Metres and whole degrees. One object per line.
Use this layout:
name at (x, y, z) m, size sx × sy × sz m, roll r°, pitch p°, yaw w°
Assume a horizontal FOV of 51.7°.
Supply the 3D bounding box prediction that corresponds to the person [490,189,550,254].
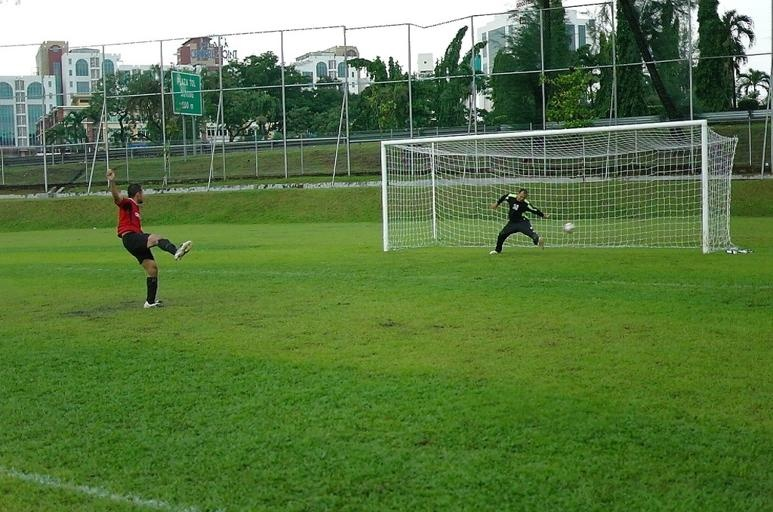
person at (3.104, -0.834, 19.088) m, size 1.253 × 1.545 × 1.010 m, roll 1°, pitch 10°, yaw 17°

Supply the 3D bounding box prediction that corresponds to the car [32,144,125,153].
car at (-20.740, -7.143, 53.394) m, size 8.997 × 0.724 × 1.783 m, roll 7°, pitch 12°, yaw 41°

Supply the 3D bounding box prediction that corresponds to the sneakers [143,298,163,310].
sneakers at (-3.828, 0.790, 13.133) m, size 0.301 × 0.128 × 0.118 m, roll -11°, pitch 6°, yaw 5°

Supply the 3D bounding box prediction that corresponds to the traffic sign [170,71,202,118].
traffic sign at (-11.919, -9.698, 47.542) m, size 0.668 × 2.479 × 2.002 m, roll 5°, pitch 12°, yaw 36°

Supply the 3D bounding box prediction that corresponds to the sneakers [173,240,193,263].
sneakers at (-4.154, -0.078, 16.328) m, size 0.554 × 0.200 × 0.261 m, roll -41°, pitch 21°, yaw -8°
